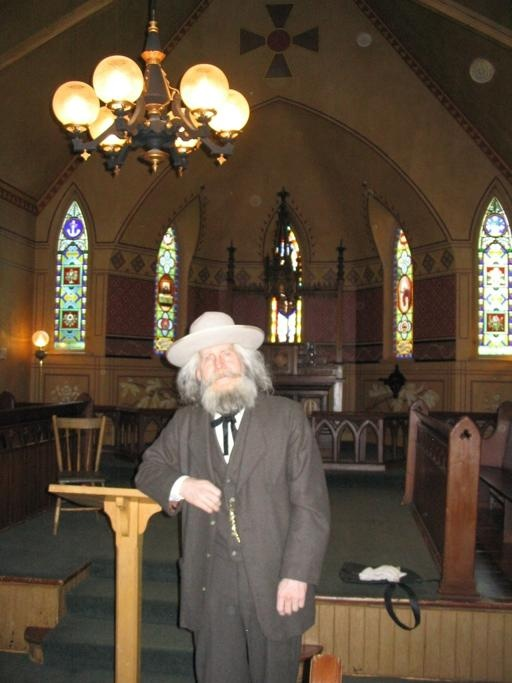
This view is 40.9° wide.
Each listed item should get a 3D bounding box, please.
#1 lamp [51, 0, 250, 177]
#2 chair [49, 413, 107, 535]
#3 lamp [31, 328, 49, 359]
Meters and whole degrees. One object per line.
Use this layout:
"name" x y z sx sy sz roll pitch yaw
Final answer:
"lamp" -0.737 -1.898 4.876 1.320 1.293 1.123 1 -2 -16
"chair" -1.508 1.122 5.950 0.481 0.964 0.446 3 -2 -27
"lamp" -3.178 0.057 10.176 0.249 0.470 0.548 1 -2 -17
